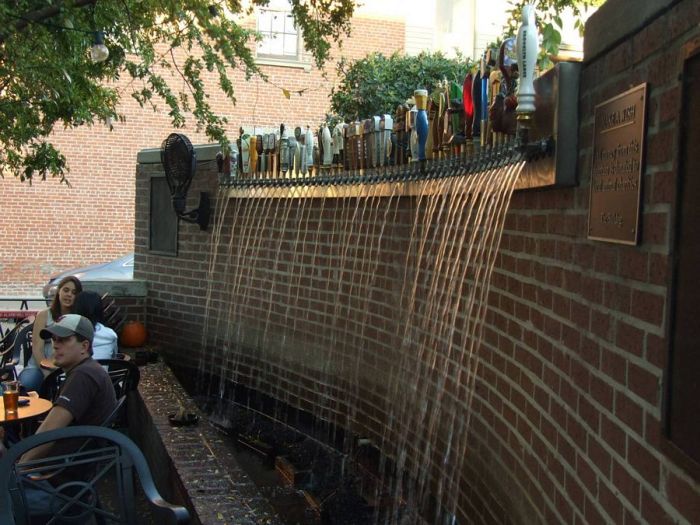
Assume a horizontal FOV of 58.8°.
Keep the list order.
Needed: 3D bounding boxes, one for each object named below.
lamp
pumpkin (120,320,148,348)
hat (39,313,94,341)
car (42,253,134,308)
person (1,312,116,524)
[{"bbox_3d":[-2.163,-1.057,8.198,0.650,1.263,0.531,5,6,41],"label":"lamp"},{"bbox_3d":[-3.113,1.028,8.872,0.279,0.343,0.297,10,21,32],"label":"pumpkin"},{"bbox_3d":[-1.963,0.458,4.269,0.284,0.187,0.207,16,-19,-32],"label":"hat"},{"bbox_3d":[-4.671,0.282,10.894,2.052,0.921,1.052,2,-5,-22],"label":"car"},{"bbox_3d":[-1.966,1.069,4.199,0.608,0.709,1.307,6,39,-21],"label":"person"}]
